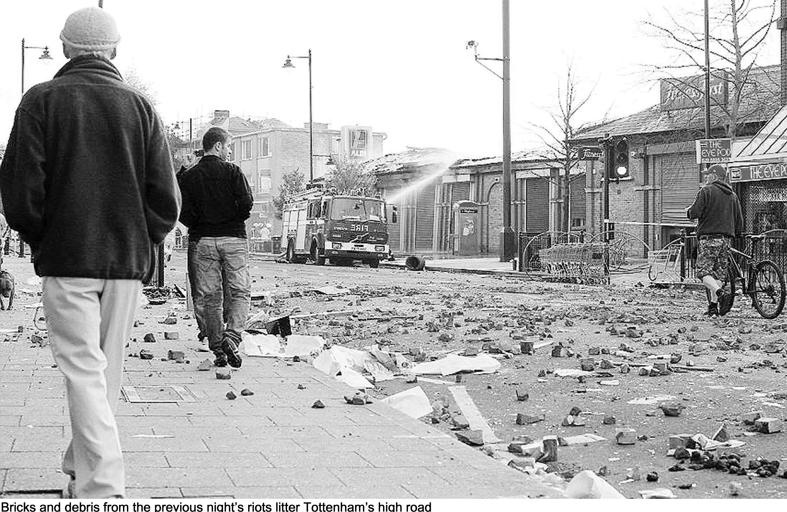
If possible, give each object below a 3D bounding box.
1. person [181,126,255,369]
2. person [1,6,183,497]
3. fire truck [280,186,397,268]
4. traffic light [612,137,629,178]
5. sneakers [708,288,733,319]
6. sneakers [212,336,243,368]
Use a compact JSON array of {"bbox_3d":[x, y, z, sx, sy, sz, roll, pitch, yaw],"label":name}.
[{"bbox_3d":[-1.953,-0.143,9.888,0.771,2.630,1.135,0,2,-11],"label":"person"},{"bbox_3d":[-1.917,0.078,5.604,0.841,2.694,0.712,1,2,19],"label":"person"},{"bbox_3d":[-2.588,-1.125,38.412,3.314,2.652,7.168,4,-1,-18],"label":"fire truck"},{"bbox_3d":[6.095,-2.648,24.166,0.369,1.067,0.570,1,2,20],"label":"traffic light"},{"bbox_3d":[5.275,0.829,14.491,0.296,0.601,0.220,13,35,16],"label":"sneakers"},{"bbox_3d":[-1.761,1.029,9.525,0.289,0.324,0.247,0,2,-2],"label":"sneakers"}]
